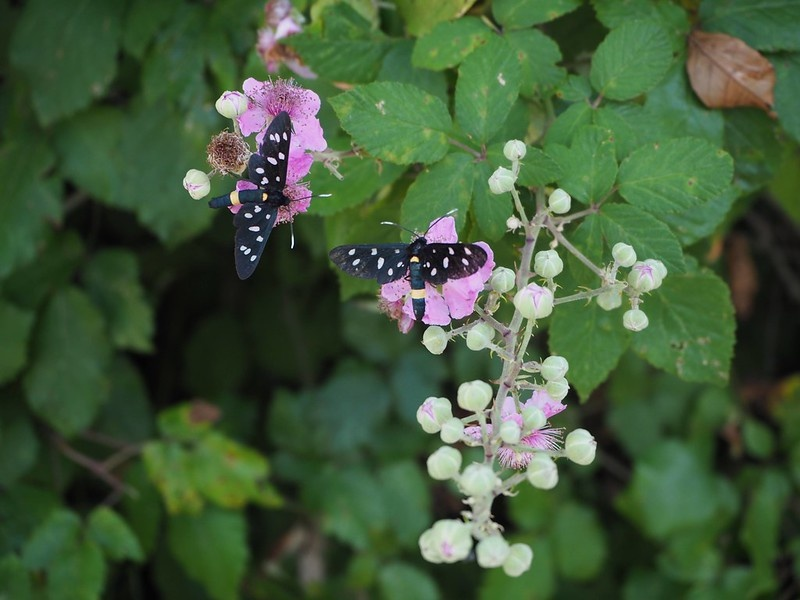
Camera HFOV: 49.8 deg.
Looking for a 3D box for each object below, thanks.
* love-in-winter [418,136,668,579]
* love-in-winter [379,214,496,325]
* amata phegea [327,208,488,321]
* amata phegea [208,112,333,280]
[{"bbox_3d":[0.188,0.093,1.218,0.360,0.613,0.302,2,8,-15],"label":"love-in-winter"},{"bbox_3d":[0.066,-0.015,1.199,0.130,0.158,0.067,30,5,16],"label":"love-in-winter"},{"bbox_3d":[0.015,-0.047,1.153,0.140,0.140,0.058,-1,-16,15],"label":"amata phegea"},{"bbox_3d":[-0.199,-0.149,1.211,0.121,0.226,0.113,8,8,25],"label":"amata phegea"}]
